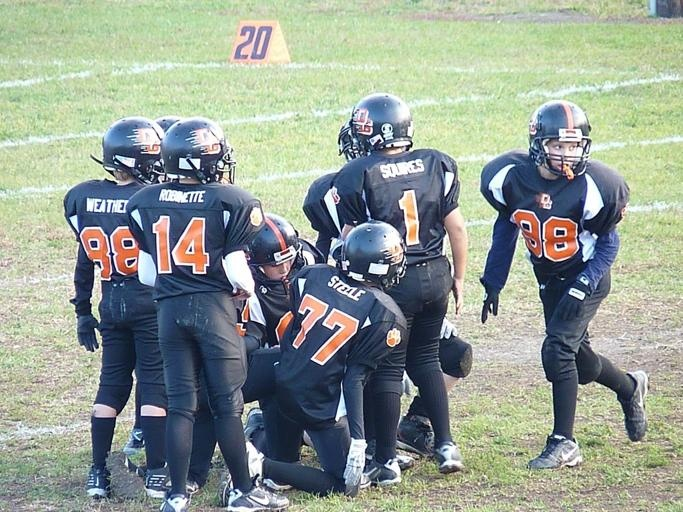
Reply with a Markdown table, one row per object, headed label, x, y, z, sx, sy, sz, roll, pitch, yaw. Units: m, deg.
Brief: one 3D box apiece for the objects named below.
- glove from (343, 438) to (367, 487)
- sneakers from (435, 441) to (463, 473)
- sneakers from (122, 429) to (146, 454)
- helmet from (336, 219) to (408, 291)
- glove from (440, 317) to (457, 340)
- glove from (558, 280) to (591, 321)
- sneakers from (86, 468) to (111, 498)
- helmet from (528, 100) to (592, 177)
| label | x | y | z | sx | sy | sz | roll | pitch | yaw |
| --- | --- | --- | --- | --- | --- | --- | --- | --- | --- |
| glove | 0.130 | 1.735 | 9.293 | 0.227 | 0.360 | 0.113 | 15 | -1 | 10 |
| sneakers | 0.977 | 1.787 | 9.797 | 0.250 | 0.282 | 0.216 | 0 | 10 | -2 |
| sneakers | -1.868 | 1.704 | 10.310 | 0.137 | 0.162 | 0.369 | 2 | 25 | 8 |
| helmet | 0.254 | -0.042 | 9.614 | 0.463 | 0.474 | 0.607 | 20 | 28 | 33 |
| glove | 0.997 | 0.679 | 10.424 | 0.169 | 0.203 | 0.086 | 38 | -27 | -14 |
| glove | 2.072 | 0.395 | 9.856 | 0.223 | 0.382 | 0.112 | 43 | 8 | 20 |
| sneakers | -2.097 | 1.970 | 9.632 | 0.217 | 0.259 | 0.140 | -2 | 11 | -12 |
| helmet | 1.973 | -1.053 | 9.981 | 0.536 | 0.671 | 0.395 | 2 | 11 | 9 |
